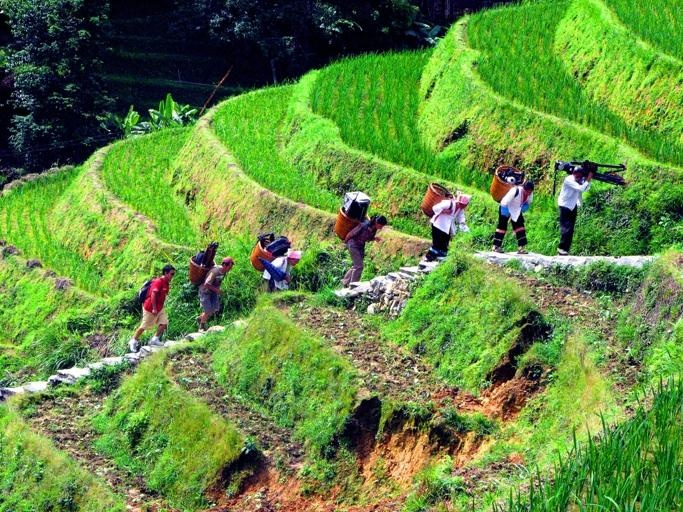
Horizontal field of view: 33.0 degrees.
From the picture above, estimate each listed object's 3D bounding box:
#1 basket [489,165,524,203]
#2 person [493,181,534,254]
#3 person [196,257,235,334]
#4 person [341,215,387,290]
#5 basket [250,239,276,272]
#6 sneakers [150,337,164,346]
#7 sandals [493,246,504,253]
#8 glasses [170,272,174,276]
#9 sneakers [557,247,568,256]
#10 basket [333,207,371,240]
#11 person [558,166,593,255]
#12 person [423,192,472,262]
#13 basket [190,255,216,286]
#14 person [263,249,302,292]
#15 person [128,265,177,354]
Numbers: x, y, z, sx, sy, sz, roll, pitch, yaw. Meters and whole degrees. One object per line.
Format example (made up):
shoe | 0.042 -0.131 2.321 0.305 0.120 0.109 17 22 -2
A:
basket | 3.065 -1.378 21.395 0.538 0.678 0.626 28 20 2
person | 3.174 -0.733 20.962 0.694 1.456 0.509 16 21 36
person | -2.467 0.796 22.528 0.447 1.347 0.557 21 35 2
person | 0.388 -0.082 21.671 0.593 1.734 0.558 23 23 18
basket | -1.480 0.055 22.058 0.463 0.528 0.486 -32 -20 29
sneakers | -3.563 1.643 22.229 0.312 0.274 0.117 1 8 -11
sandals | 2.879 -0.099 21.040 0.193 0.166 0.088 -2 42 1
glasses | -3.199 0.343 21.740 0.057 0.086 0.084 0 6 -3
sneakers | 3.964 -0.056 20.594 0.203 0.108 0.088 24 18 21
basket | 0.151 -0.590 21.541 0.474 0.562 0.495 32 15 11
person | 4.266 -0.782 20.928 0.616 1.936 0.682 1 24 2
person | 1.935 -0.529 21.155 0.635 1.640 0.555 6 29 -10
basket | -2.735 0.360 22.431 0.419 0.468 0.496 21 10 -26
person | -1.133 0.278 21.970 0.342 0.810 0.606 43 8 15
person | -3.654 0.976 22.158 0.612 1.943 0.615 8 13 -10
